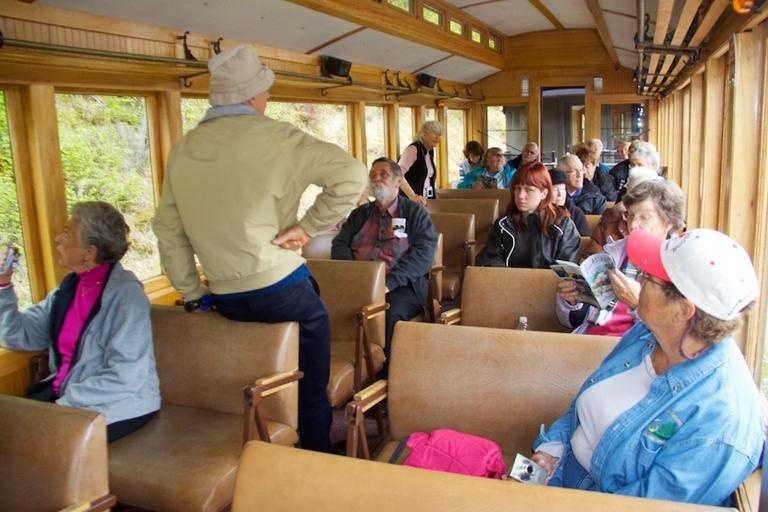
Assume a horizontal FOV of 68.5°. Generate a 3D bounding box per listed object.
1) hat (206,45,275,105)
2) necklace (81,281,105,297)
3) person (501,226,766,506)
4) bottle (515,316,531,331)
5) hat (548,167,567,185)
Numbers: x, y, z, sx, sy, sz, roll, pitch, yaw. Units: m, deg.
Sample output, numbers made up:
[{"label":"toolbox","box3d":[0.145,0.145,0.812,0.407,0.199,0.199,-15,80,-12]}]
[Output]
[{"label":"hat","box3d":[-0.799,-0.979,3.165,0.316,0.175,0.335,21,59,30]},{"label":"necklace","box3d":[-1.754,0.193,3.400,0.094,0.069,0.100,5,4,30]},{"label":"person","box3d":[1.011,0.485,2.391,0.775,1.257,0.867,8,11,-10]},{"label":"bottle","box3d":[0.846,0.411,3.429,0.070,0.109,0.062,0,42,4]},{"label":"hat","box3d":[1.685,-0.735,5.474,0.207,0.114,0.294,-1,3,17]}]
